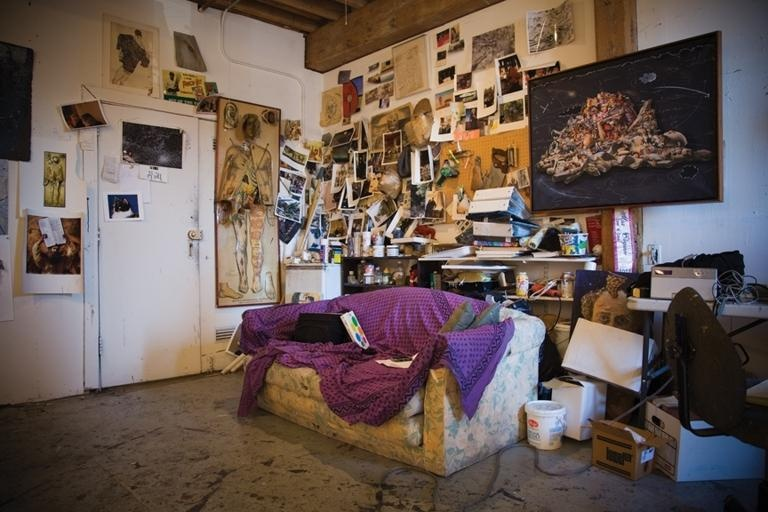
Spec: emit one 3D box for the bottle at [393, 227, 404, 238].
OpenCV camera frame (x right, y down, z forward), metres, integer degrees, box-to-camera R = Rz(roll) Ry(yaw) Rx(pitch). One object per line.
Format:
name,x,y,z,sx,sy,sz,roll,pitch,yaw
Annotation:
bottle,0.155,-0.264,6.072,0.127,0.121,0.185,-2,1,-4

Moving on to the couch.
couch,-0.024,0.945,4.646,2.297,1.282,1.145,-1,2,33

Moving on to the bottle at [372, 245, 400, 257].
bottle,0.018,-0.058,6.009,0.311,0.127,0.242,-1,1,-3

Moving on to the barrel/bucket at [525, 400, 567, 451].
barrel/bucket,1.300,1.361,4.382,0.347,0.317,0.349,-1,-1,0

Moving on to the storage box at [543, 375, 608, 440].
storage box,1.564,1.222,4.553,0.463,0.416,0.434,0,-1,-35

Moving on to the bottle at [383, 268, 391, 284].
bottle,0.028,0.224,6.154,0.088,0.182,0.106,-1,2,-1

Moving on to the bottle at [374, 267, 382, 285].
bottle,-0.074,0.218,6.254,0.087,0.180,0.241,-1,1,-1

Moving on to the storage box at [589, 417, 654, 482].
storage box,1.794,1.414,4.072,0.410,0.371,0.513,-2,3,-38

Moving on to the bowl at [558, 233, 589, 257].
bowl,1.681,-0.099,4.873,0.214,0.168,0.206,0,-4,0

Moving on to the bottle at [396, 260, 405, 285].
bottle,0.178,0.181,6.156,0.124,0.262,0.248,-1,1,3

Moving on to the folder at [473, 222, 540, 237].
folder,1.133,-0.247,5.092,0.614,0.160,0.214,-1,1,6

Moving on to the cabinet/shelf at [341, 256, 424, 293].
cabinet/shelf,-0.013,0.320,6.200,1.015,0.632,0.352,2,7,36

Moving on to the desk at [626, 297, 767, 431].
desk,2.428,0.666,4.243,1.051,0.970,0.915,3,-4,-44

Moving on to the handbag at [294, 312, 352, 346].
handbag,-0.608,0.667,5.037,0.360,0.338,0.247,2,-1,18
